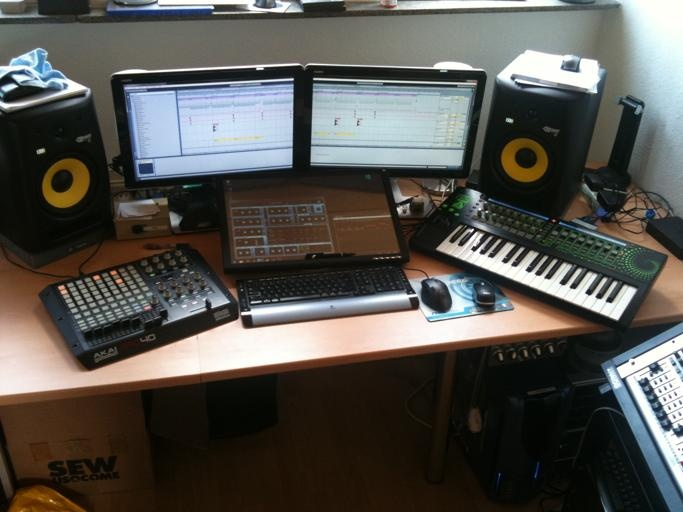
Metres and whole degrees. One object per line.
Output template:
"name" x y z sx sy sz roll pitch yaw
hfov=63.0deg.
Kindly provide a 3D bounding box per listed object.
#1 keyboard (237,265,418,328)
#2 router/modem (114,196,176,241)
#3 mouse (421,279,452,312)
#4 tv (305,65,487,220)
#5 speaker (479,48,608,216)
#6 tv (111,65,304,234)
"keyboard" -0.046 0.119 1.870 0.581 0.070 0.220 -6 35 -12
"router/modem" -0.719 -0.138 2.024 0.167 0.100 0.162 -7 44 -14
"mouse" 0.306 0.130 1.833 0.076 0.054 0.120 -13 47 -21
"tv" 0.175 -0.437 2.090 0.652 0.554 0.198 1 34 -2
"speaker" 0.719 -0.458 2.234 0.405 0.651 0.423 23 29 25
"tv" -0.445 -0.379 1.936 0.653 0.527 0.202 -3 36 -12
